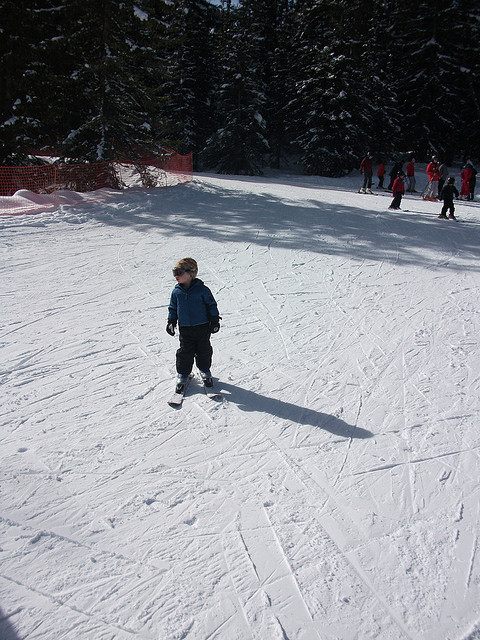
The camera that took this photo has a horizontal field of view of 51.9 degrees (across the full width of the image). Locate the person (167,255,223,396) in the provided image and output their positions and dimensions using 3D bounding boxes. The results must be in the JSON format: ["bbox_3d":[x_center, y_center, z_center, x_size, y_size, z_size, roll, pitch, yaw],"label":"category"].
[{"bbox_3d":[-0.485,0.031,5.091,0.513,1.362,0.728,-2,12,-8],"label":"person"}]

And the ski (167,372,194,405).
[{"bbox_3d":[-0.607,0.704,4.969,0.097,0.067,0.392,14,27,1],"label":"ski"}]

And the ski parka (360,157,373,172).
[{"bbox_3d":[4.814,-5.875,18.665,0.386,0.533,0.703,2,12,12],"label":"ski parka"}]

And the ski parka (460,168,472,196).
[{"bbox_3d":[7.944,-4.828,17.271,0.331,0.849,0.717,5,13,23],"label":"ski parka"}]

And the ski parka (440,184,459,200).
[{"bbox_3d":[5.681,-3.470,13.402,0.285,0.389,0.411,7,14,29],"label":"ski parka"}]

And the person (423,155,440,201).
[{"bbox_3d":[6.813,-4.944,17.435,0.476,1.420,1.838,4,13,20],"label":"person"}]

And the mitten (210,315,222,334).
[{"bbox_3d":[-0.238,0.047,4.849,0.117,0.161,0.059,-2,-4,21],"label":"mitten"}]

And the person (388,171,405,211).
[{"bbox_3d":[4.841,-3.977,15.233,0.414,1.193,1.059,3,13,16],"label":"person"}]

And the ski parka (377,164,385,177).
[{"bbox_3d":[5.750,-6.082,19.999,0.187,0.431,0.537,1,12,7],"label":"ski parka"}]

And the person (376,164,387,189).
[{"bbox_3d":[5.943,-6.009,20.624,0.395,0.974,1.799,3,12,15],"label":"person"}]

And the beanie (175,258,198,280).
[{"bbox_3d":[-0.518,-0.500,4.748,0.155,0.191,0.200,8,19,-19],"label":"beanie"}]

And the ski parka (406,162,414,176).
[{"bbox_3d":[6.786,-5.984,19.585,0.211,0.494,0.463,3,13,14],"label":"ski parka"}]

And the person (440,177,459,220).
[{"bbox_3d":[5.832,-3.367,13.701,0.416,1.139,1.668,5,13,22],"label":"person"}]

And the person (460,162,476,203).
[{"bbox_3d":[8.190,-4.934,17.655,0.465,1.448,2.274,5,13,25],"label":"person"}]

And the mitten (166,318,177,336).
[{"bbox_3d":[-0.658,0.075,4.834,0.097,0.136,0.057,3,-29,15],"label":"mitten"}]

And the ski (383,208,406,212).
[{"bbox_3d":[4.802,-3.394,15.249,0.256,0.124,0.756,-9,15,-35],"label":"ski"}]

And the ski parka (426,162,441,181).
[{"bbox_3d":[6.768,-5.155,17.141,0.450,0.599,0.853,4,13,20],"label":"ski parka"}]

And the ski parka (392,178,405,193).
[{"bbox_3d":[4.771,-4.041,14.789,0.280,0.405,0.191,0,12,2],"label":"ski parka"}]
